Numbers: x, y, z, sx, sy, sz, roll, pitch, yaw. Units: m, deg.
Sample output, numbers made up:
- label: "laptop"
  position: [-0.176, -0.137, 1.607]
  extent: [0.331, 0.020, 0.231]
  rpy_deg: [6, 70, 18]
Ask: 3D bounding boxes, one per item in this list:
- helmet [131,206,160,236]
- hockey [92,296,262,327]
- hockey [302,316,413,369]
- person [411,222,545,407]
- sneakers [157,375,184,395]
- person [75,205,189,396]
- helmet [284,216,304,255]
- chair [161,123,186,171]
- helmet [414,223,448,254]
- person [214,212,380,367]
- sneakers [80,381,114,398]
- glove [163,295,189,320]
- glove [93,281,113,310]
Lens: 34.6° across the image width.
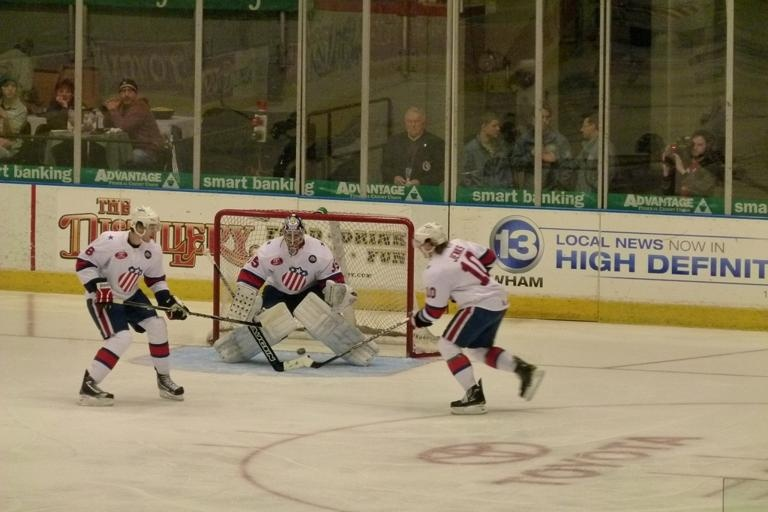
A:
- label: "helmet"
  position: [-2.118, -0.324, 11.056]
  extent: [0.291, 0.221, 0.211]
  rpy_deg: [-7, 21, -6]
- label: "hockey"
  position: [-1.963, 0.534, 11.793]
  extent: [1.335, 0.125, 0.167]
  rpy_deg: [12, 0, -18]
- label: "hockey"
  position: [-0.270, 0.881, 12.418]
  extent: [1.317, 0.132, 0.153]
  rpy_deg: [-20, -16, 20]
- label: "person"
  position: [0.788, 0.528, 10.853]
  extent: [1.052, 1.636, 0.444]
  rpy_deg: [0, 2, 0]
- label: "sneakers"
  position: [-1.883, 1.135, 10.905]
  extent: [0.240, 0.214, 0.206]
  rpy_deg: [0, 1, -4]
- label: "person"
  position: [-2.227, 0.411, 10.987]
  extent: [0.964, 1.692, 0.796]
  rpy_deg: [0, 2, -14]
- label: "helmet"
  position: [-0.862, -0.211, 12.002]
  extent: [0.207, 0.381, 0.270]
  rpy_deg: [0, 1, -5]
- label: "chair"
  position: [-2.666, -1.393, 15.487]
  extent: [0.248, 0.701, 0.227]
  rpy_deg: [13, 14, 30]
- label: "helmet"
  position: [0.427, -0.178, 10.931]
  extent: [0.313, 0.263, 0.232]
  rpy_deg: [-13, 20, 12]
- label: "person"
  position: [-0.900, 0.343, 12.220]
  extent: [1.724, 1.320, 1.170]
  rpy_deg: [-3, 21, -4]
- label: "sneakers"
  position: [-2.408, 1.152, 10.659]
  extent: [0.382, 0.149, 0.114]
  rpy_deg: [2, 1, 2]
- label: "glove"
  position: [-1.924, 0.486, 11.319]
  extent: [0.117, 0.238, 0.198]
  rpy_deg: [-20, -15, 25]
- label: "glove"
  position: [-2.419, 0.327, 10.739]
  extent: [0.159, 0.184, 0.074]
  rpy_deg: [5, -6, -18]
